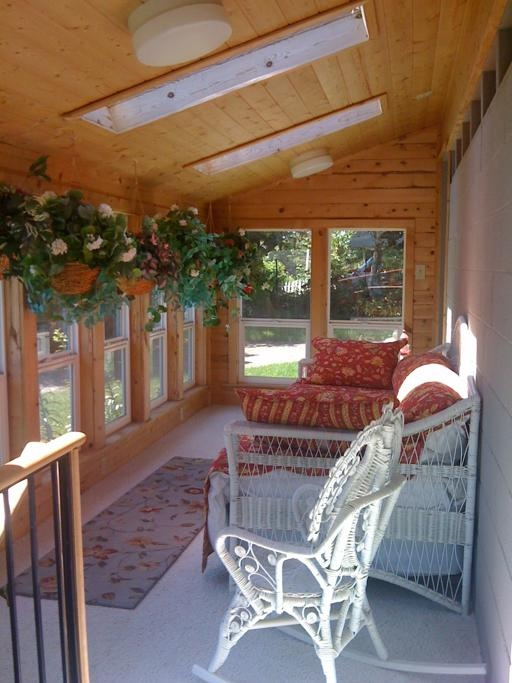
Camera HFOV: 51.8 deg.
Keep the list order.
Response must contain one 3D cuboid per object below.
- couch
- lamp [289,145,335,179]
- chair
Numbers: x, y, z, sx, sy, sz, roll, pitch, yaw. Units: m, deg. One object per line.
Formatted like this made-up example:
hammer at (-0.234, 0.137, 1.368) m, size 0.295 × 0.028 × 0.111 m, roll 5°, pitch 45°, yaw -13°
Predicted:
couch at (0.368, 0.524, 2.354) m, size 0.986 × 0.662 × 0.977 m, roll 1°, pitch 8°, yaw 9°
lamp at (0.482, -1.671, 4.958) m, size 0.431 × 0.220 × 0.203 m, roll 1°, pitch 4°, yaw 36°
chair at (0.197, 0.577, 1.977) m, size 1.051 × 1.019 × 0.932 m, roll 0°, pitch 0°, yaw 36°
